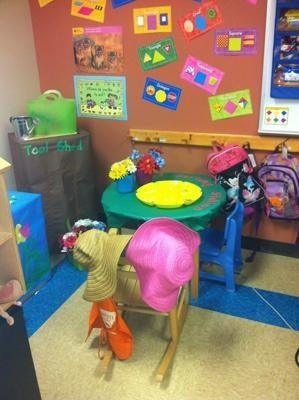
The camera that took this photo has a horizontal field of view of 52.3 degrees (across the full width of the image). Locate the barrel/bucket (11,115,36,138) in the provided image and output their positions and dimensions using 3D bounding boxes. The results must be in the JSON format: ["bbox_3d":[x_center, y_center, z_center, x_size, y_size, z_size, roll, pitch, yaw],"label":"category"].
[{"bbox_3d":[-0.912,-0.526,2.211,0.179,0.122,0.103,9,32,4],"label":"barrel/bucket"}]

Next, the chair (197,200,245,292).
[{"bbox_3d":[0.450,0.308,1.944,0.372,0.501,0.371,9,32,18],"label":"chair"}]

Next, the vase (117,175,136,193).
[{"bbox_3d":[-0.145,-0.111,2.033,0.123,0.107,0.107,7,33,9],"label":"vase"}]

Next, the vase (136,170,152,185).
[{"bbox_3d":[-0.040,-0.144,2.035,0.105,0.096,0.079,-13,28,-28],"label":"vase"}]

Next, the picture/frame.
[{"bbox_3d":[-0.391,-0.844,2.495,0.430,0.295,0.016,12,33,23],"label":"picture/frame"}]

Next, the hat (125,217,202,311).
[{"bbox_3d":[0.037,0.262,1.074,0.248,0.431,0.243,3,21,12],"label":"hat"}]

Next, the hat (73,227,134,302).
[{"bbox_3d":[-0.182,0.221,1.078,0.217,0.273,0.083,4,11,10],"label":"hat"}]
